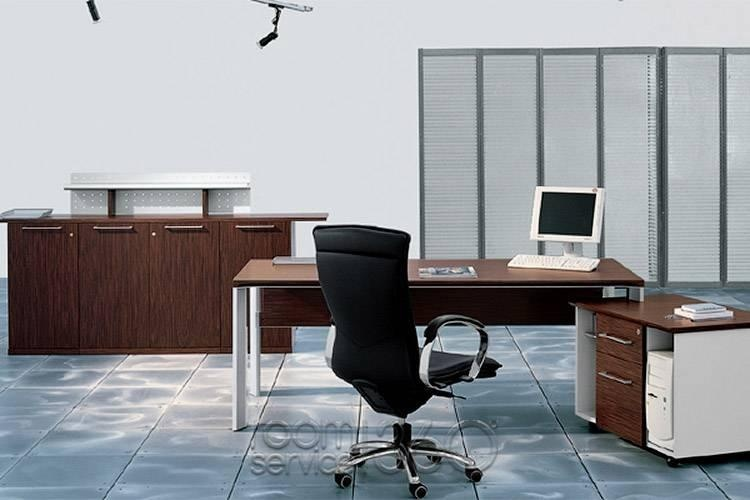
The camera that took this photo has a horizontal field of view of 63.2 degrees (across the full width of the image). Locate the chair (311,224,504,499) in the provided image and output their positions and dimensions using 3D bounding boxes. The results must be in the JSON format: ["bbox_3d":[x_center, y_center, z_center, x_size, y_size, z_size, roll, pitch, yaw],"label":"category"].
[{"bbox_3d":[0.164,0.668,3.774,1.081,1.639,0.585,0,16,0],"label":"chair"}]

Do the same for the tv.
[{"bbox_3d":[1.589,-0.248,4.842,0.353,0.513,0.617,-20,16,-34],"label":"tv"}]

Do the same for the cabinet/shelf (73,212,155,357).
[{"bbox_3d":[-2.492,0.355,5.859,0.656,1.222,0.309,-1,16,0],"label":"cabinet/shelf"}]

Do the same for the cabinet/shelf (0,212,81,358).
[{"bbox_3d":[-3.167,0.353,5.834,0.651,1.256,0.323,-1,16,0],"label":"cabinet/shelf"}]
